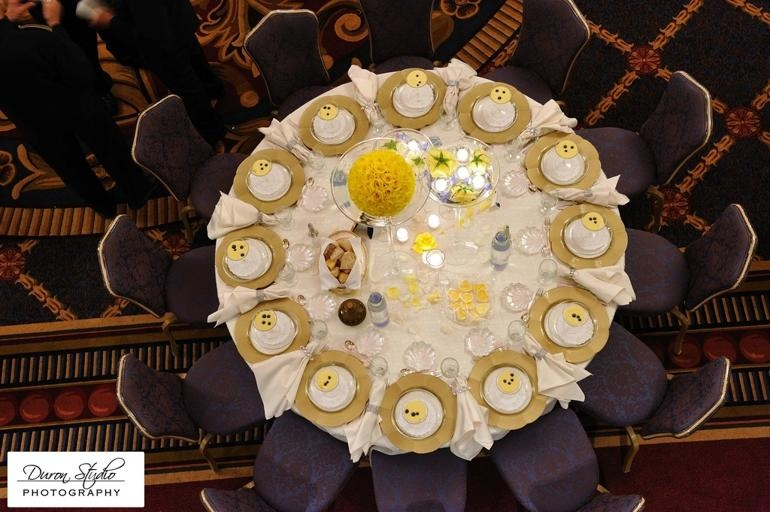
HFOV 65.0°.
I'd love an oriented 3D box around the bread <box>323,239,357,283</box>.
[{"bbox_3d":[-0.286,0.053,4.021,0.233,0.086,0.266,-32,72,15],"label":"bread"}]
